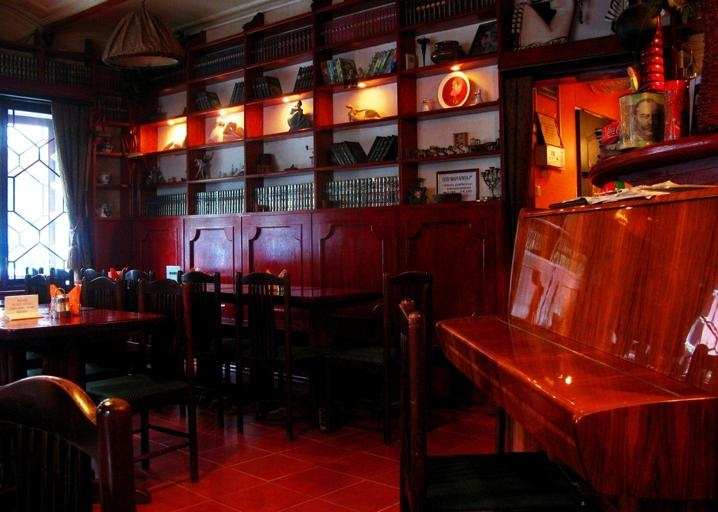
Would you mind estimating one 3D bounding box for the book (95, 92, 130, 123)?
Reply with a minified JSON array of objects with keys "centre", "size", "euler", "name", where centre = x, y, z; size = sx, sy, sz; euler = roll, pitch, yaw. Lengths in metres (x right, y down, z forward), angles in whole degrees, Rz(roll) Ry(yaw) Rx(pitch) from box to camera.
[{"centre":[-2.983,-1.793,7.057],"size":[0.373,0.366,0.159],"euler":[-6,11,-44],"name":"book"}]
